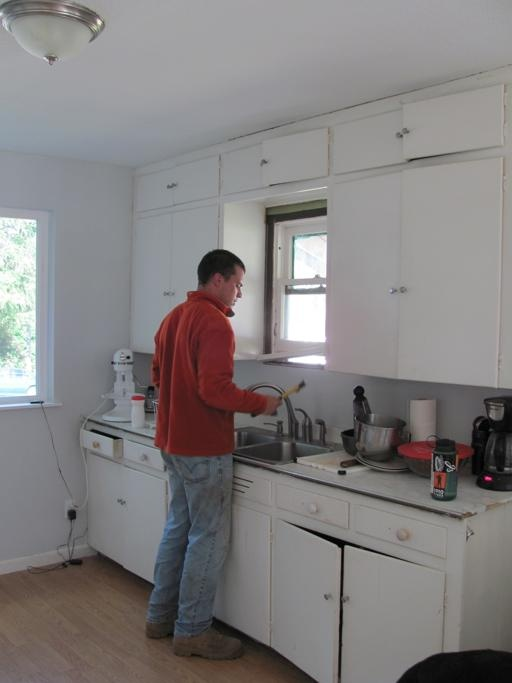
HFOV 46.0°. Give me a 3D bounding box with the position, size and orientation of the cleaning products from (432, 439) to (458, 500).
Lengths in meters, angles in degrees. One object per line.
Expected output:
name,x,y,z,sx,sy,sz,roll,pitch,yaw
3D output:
cleaning products,0.615,0.421,1.971,0.082,0.187,0.099,0,0,15

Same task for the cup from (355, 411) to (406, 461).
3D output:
cup,0.514,0.403,2.488,0.196,0.171,0.264,0,0,13

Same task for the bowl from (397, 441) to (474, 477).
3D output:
bowl,0.665,0.419,2.230,0.201,0.070,0.190,-1,0,0

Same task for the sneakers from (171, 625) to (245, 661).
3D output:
sneakers,-0.206,1.263,2.571,0.304,0.123,0.118,0,3,-8

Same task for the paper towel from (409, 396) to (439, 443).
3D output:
paper towel,0.695,0.330,2.509,0.116,0.171,0.065,0,0,2

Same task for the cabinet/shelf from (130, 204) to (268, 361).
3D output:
cabinet/shelf,-0.269,-0.324,3.175,0.418,0.912,1.063,0,1,-40

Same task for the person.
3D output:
person,-0.212,0.471,2.623,0.385,1.729,0.584,0,0,-34

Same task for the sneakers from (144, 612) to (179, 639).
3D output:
sneakers,-0.419,1.285,2.745,0.065,0.071,0.167,3,4,38
